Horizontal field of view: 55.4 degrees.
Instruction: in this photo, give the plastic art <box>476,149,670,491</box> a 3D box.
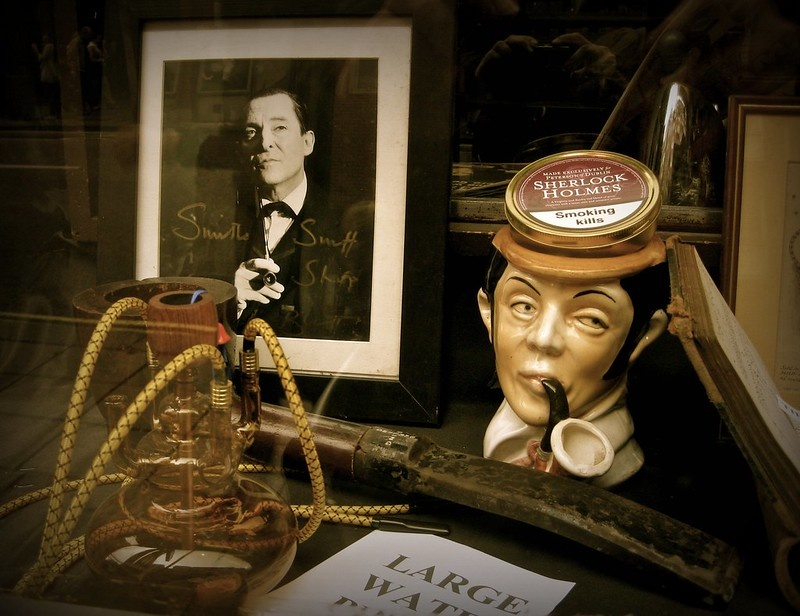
[{"bbox_3d":[0.242,0.042,1.083,0.270,0.468,0.286,16,25,33],"label":"plastic art"}]
